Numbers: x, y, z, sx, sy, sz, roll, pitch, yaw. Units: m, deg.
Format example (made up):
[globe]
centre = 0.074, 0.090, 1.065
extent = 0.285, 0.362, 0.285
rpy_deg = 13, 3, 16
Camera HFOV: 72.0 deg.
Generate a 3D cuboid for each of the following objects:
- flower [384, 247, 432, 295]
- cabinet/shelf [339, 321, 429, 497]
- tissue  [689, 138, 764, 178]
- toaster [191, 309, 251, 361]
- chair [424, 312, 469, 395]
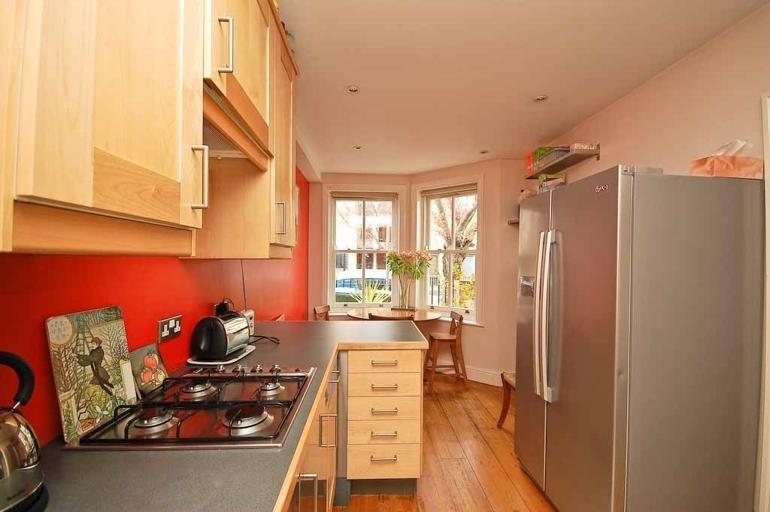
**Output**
[flower]
centre = 0.280, 0.190, 5.878
extent = 0.447, 0.519, 0.486
rpy_deg = 3, 10, 16
[cabinet/shelf]
centre = -0.018, 0.932, 3.180
extent = 0.520, 0.835, 0.193
rpy_deg = 0, 10, 3
[tissue ]
centre = 1.769, -0.492, 2.828
extent = 0.267, 0.200, 0.389
rpy_deg = 2, 5, -5
[toaster]
centre = -0.852, 0.420, 2.822
extent = 0.231, 0.211, 0.312
rpy_deg = 4, 2, 8
[chair]
centre = 0.606, 0.928, 5.260
extent = 0.479, 0.693, 0.490
rpy_deg = 2, 3, 27
